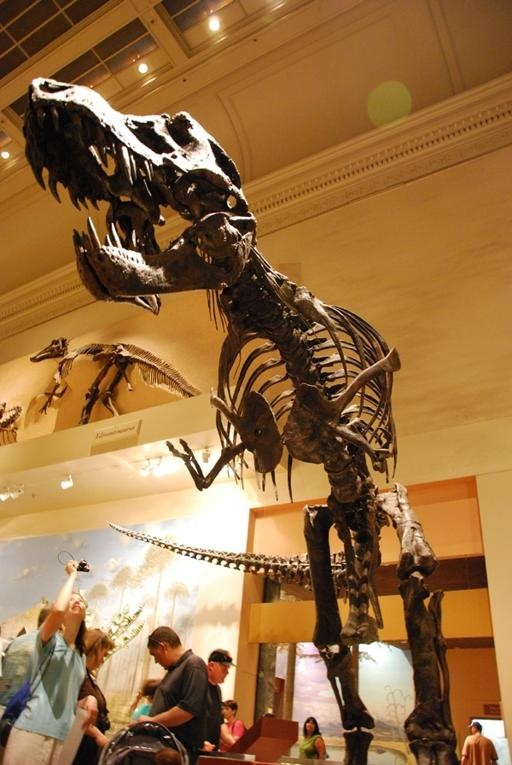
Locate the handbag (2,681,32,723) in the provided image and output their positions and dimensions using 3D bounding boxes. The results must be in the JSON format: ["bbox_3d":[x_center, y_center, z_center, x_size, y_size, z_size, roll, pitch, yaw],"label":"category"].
[{"bbox_3d":[-0.887,1.194,2.067,0.046,0.143,0.036,16,-47,5],"label":"handbag"}]

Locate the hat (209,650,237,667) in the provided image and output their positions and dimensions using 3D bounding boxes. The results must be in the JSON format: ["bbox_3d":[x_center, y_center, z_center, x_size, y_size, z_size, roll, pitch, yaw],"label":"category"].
[{"bbox_3d":[-0.183,1.522,3.094,0.135,0.071,0.101,-11,-29,32],"label":"hat"}]
